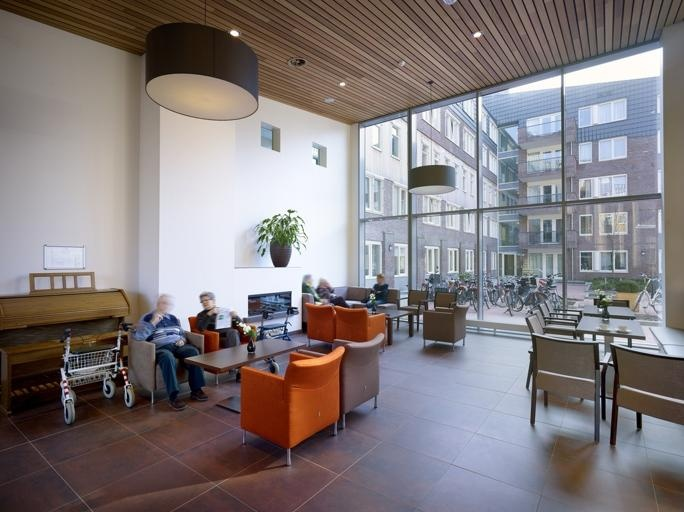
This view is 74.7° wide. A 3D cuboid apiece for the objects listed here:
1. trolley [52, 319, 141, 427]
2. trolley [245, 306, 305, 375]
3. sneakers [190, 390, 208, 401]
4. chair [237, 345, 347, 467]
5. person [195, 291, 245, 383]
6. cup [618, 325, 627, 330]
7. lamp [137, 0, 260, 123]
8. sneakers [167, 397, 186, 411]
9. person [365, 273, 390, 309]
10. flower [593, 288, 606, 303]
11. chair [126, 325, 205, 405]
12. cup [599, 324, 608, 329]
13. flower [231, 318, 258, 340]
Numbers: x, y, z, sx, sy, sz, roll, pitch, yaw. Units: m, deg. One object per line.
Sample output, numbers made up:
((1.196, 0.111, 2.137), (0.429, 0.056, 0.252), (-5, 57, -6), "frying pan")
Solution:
((-3.764, 1.659, 6.655), (1.377, 1.285, 0.949), (-7, -2, 42), "trolley")
((-1.366, 1.487, 9.145), (0.988, 0.713, 0.460), (-7, 14, -44), "trolley")
((-2.144, 2.082, 6.733), (0.274, 0.122, 0.113), (-3, -3, 24), "sneakers")
((-0.608, 1.748, 5.879), (1.320, 1.511, 1.067), (1, 0, 37), "chair")
((-2.077, 1.241, 7.568), (0.708, 1.272, 0.709), (-5, -1, 36), "person")
((4.313, 1.093, 6.883), (0.075, 0.057, 0.082), (-1, -11, 15), "cup")
((-1.814, -2.385, 5.983), (1.274, 1.515, 1.367), (-4, -10, 17), "lamp")
((-2.392, 2.126, 6.520), (0.211, 0.154, 0.307), (-3, 1, -30), "sneakers")
((0.840, 0.909, 11.088), (0.570, 0.936, 0.439), (5, 0, -38), "person")
((4.680, 0.712, 8.140), (0.248, 0.262, 0.254), (-3, 0, 21), "flower")
((-2.730, 1.729, 7.315), (1.036, 1.354, 0.912), (-3, -4, 35), "chair")
((4.061, 1.092, 6.956), (0.071, 0.057, 0.078), (1, -8, 0), "cup")
((-1.551, 1.152, 7.052), (0.416, 0.172, 0.421), (0, -6, 34), "flower")
